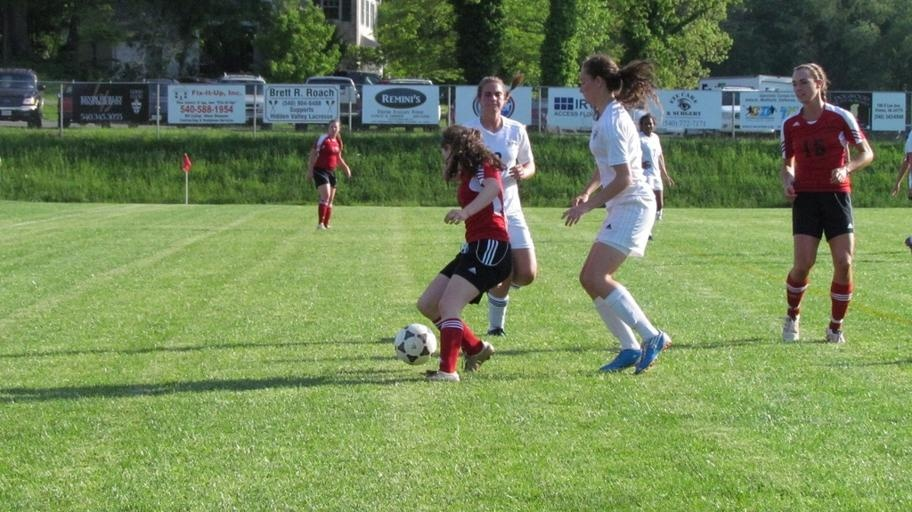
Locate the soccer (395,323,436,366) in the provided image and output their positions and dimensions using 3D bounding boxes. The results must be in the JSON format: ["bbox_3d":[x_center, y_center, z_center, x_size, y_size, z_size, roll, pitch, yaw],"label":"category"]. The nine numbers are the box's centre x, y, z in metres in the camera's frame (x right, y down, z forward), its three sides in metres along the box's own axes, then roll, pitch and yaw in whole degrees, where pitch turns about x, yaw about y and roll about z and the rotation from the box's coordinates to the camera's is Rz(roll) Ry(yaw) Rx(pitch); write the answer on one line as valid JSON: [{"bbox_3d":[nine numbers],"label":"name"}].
[{"bbox_3d":[-0.726,1.730,20.636,0.567,0.561,0.571,-5,-6,-28],"label":"soccer"}]

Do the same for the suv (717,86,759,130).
[{"bbox_3d":[10.980,-5.801,42.646,0.839,1.599,2.973,2,8,13],"label":"suv"}]

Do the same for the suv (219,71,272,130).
[{"bbox_3d":[-7.960,-6.632,43.570,2.789,3.029,5.306,-1,4,-10],"label":"suv"}]
